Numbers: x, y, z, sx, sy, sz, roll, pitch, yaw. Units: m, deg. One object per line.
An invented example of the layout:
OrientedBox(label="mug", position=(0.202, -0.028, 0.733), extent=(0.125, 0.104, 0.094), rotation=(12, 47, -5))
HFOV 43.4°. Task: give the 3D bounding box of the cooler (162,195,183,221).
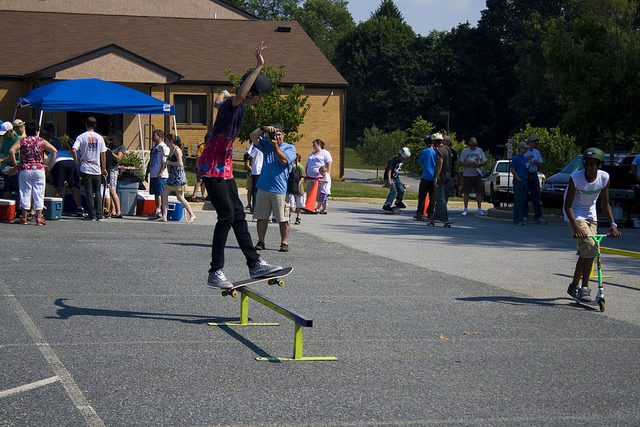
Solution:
OrientedBox(label="cooler", position=(-3.908, -0.140, 21.826), extent=(0.687, 0.655, 0.679), rotation=(0, 4, -8))

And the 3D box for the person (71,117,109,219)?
OrientedBox(label="person", position=(-5.756, -1.089, 20.243), extent=(0.824, 2.678, 0.904), rotation=(-1, 12, -16))

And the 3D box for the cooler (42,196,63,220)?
OrientedBox(label="cooler", position=(-6.649, -0.139, 20.402), extent=(0.786, 0.673, 0.470), rotation=(2, 1, 45))

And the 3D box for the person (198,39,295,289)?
OrientedBox(label="person", position=(-1.258, -0.706, 11.967), extent=(1.227, 3.603, 1.040), rotation=(3, 11, 4))

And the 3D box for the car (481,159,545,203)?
OrientedBox(label="car", position=(7.911, -1.203, 33.776), extent=(1.993, 1.556, 4.017), rotation=(-1, 6, -2))

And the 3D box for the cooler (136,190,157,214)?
OrientedBox(label="cooler", position=(-4.883, -0.288, 22.717), extent=(0.576, 0.528, 0.575), rotation=(-2, 5, -20))

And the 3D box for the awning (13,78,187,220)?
OrientedBox(label="awning", position=(-7.361, -1.945, 25.358), extent=(4.628, 3.034, 4.510), rotation=(-2, 10, -27))

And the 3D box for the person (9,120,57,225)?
OrientedBox(label="person", position=(-6.832, -0.954, 19.234), extent=(0.851, 2.458, 0.956), rotation=(1, 11, -3))

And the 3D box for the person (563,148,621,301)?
OrientedBox(label="person", position=(4.325, 0.155, 13.216), extent=(0.644, 2.448, 0.714), rotation=(5, 12, 18))
